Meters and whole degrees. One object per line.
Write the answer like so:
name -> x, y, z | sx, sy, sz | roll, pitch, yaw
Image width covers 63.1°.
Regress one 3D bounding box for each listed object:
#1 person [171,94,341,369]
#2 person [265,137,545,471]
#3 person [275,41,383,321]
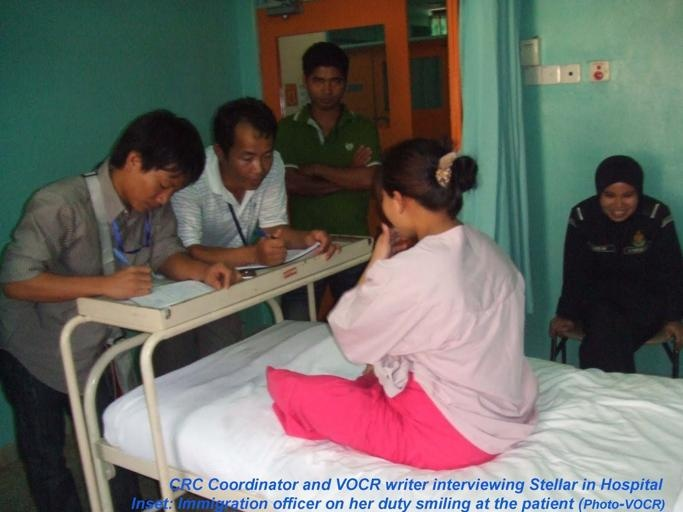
person -> -0.498, 0.001, 2.540 | 0.562, 1.359, 0.847 | -1, 27, -31
person -> 0.305, 0.027, 2.100 | 0.990, 1.155, 0.965 | -14, 20, -42
person -> -0.122, -0.218, 3.365 | 0.545, 1.991, 0.510 | -1, 22, -6
